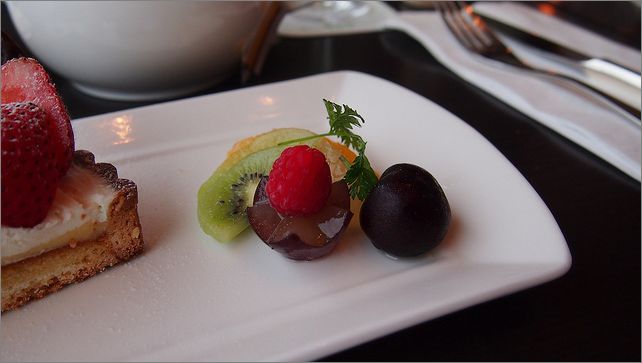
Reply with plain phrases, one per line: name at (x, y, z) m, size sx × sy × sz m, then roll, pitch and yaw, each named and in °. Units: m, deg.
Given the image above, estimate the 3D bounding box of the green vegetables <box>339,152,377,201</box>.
green vegetables at (0.126, -0.013, 1.576) m, size 0.133 × 0.060 × 0.130 m, roll -36°, pitch 89°, yaw -8°

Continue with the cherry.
cherry at (-0.045, -0.014, 1.579) m, size 0.217 × 0.234 × 0.195 m, roll 18°, pitch 27°, yaw 5°

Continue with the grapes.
grapes at (-0.070, 0.087, 1.616) m, size 0.325 × 0.466 × 0.216 m, roll -7°, pitch 105°, yaw -20°

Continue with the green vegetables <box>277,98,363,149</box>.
green vegetables at (0.011, -0.173, 1.536) m, size 0.247 × 0.061 × 0.163 m, roll -17°, pitch 81°, yaw -17°
